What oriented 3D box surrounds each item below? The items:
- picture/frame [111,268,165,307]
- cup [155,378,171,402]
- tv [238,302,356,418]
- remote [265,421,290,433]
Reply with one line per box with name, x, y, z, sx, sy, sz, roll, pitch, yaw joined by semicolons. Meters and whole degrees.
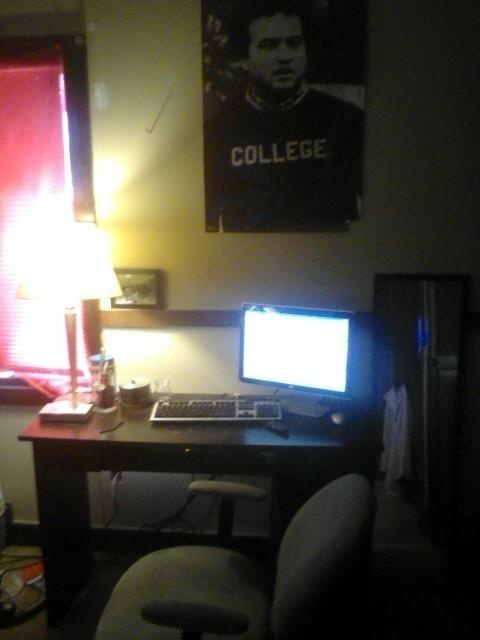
picture/frame;-0.445;-0.148;2.410;0.140;0.140;0.011;1;14;2
cup;-0.335;0.293;2.405;0.061;0.130;0.071;2;-1;-3
tv;0.228;0.160;2.225;0.351;0.375;0.160;3;3;24
remote;0.142;0.390;2.075;0.050;0.019;0.036;9;8;42
